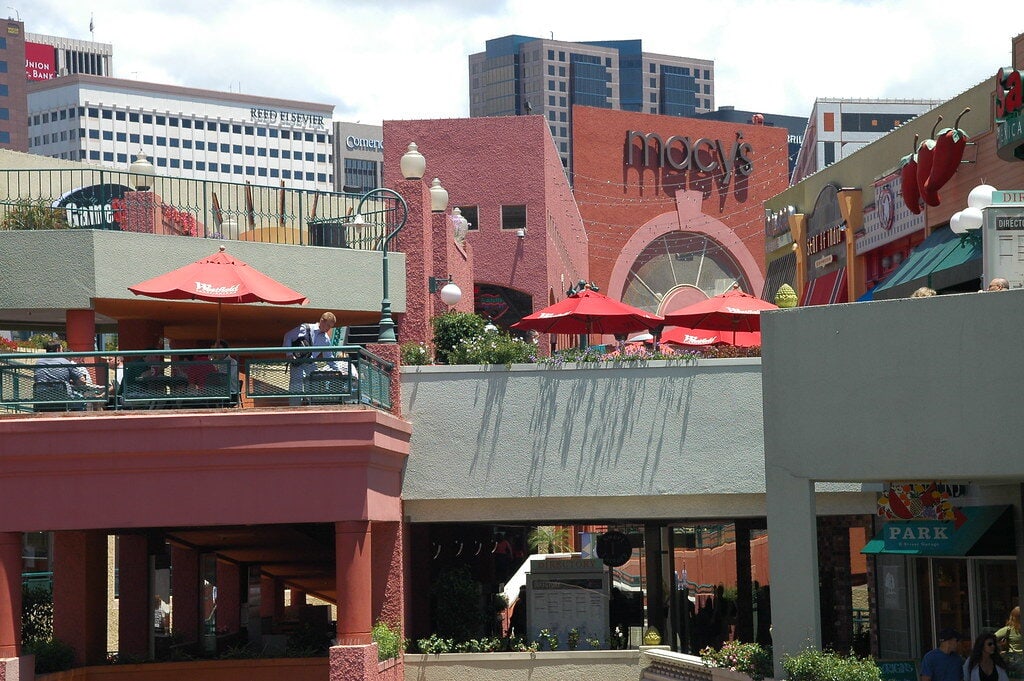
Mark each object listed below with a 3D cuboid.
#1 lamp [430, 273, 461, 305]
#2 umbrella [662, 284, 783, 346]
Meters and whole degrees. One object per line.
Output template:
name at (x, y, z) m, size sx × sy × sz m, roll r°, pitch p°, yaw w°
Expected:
lamp at (-2.043, -1.489, 68.070) m, size 0.975 × 0.993 × 0.652 m, roll -3°, pitch -5°, yaw 30°
umbrella at (6.554, -0.746, 67.268) m, size 5.363 × 2.602 × 2.140 m, roll 0°, pitch 1°, yaw 14°
